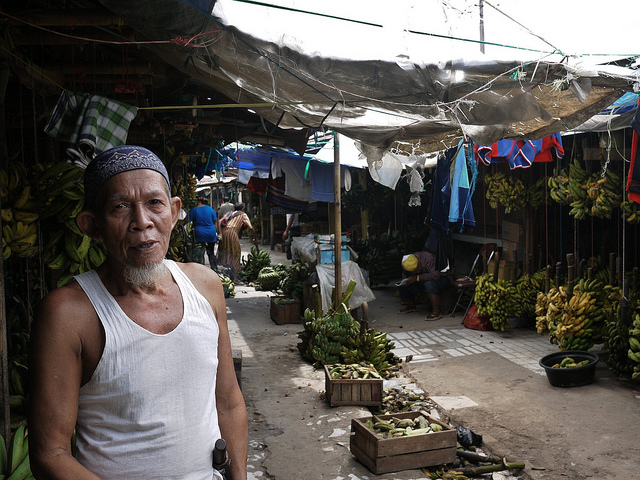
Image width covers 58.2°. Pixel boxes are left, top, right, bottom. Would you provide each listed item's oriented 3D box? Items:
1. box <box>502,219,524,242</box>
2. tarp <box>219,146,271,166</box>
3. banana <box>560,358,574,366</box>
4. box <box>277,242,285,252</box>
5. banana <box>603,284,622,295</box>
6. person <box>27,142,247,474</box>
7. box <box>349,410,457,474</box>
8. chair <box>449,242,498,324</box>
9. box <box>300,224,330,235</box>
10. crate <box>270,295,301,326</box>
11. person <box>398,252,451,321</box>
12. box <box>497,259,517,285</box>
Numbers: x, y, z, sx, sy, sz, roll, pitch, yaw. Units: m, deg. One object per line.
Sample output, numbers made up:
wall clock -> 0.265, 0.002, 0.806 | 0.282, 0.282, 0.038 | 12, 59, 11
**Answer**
box -> 3.495, -0.160, 10.417 | 0.279, 0.393, 0.567 | 0, 1, 2
tarp -> -1.603, -1.794, 12.298 | 0.998, 0.415, 0.632 | -3, 6, -17
banana -> 2.979, 1.483, 6.911 | 0.093, 0.033, 0.096 | -30, -17, -29
box -> -1.448, 0.339, 21.363 | 0.244, 0.242, 0.510 | 0, 4, -6
banana -> 3.838, 0.651, 7.572 | 0.185, 0.103, 0.421 | 1, 6, 20
person -> -0.798, 0.367, 2.564 | 0.905, 1.568, 0.425 | -2, 6, -11
box -> 0.733, 1.875, 5.103 | 0.850, 0.527, 0.632 | -1, 1, -17
chair -> 2.815, 0.774, 10.615 | 0.828, 1.357, 0.861 | -1, 6, 26
box -> -0.193, -0.314, 17.233 | 0.884, 0.296, 0.383 | 0, 6, 14
crate -> -0.622, 1.287, 10.326 | 0.520, 0.404, 0.634 | -2, 6, -14
person -> 1.859, 0.815, 10.534 | 0.705, 1.185, 0.947 | -5, 7, -38
box -> 3.262, 0.577, 10.065 | 0.288, 0.465, 0.419 | -1, 5, -1
